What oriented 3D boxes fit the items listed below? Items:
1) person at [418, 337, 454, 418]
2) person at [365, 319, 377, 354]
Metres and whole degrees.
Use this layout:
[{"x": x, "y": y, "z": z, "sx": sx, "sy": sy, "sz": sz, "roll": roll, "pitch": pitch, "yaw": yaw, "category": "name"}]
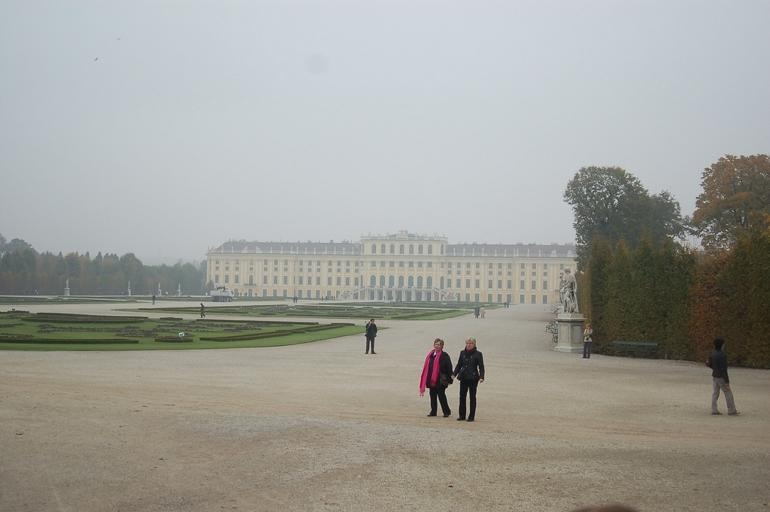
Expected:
[{"x": 1.350, "y": 3.231, "z": 25.170, "sx": 0.860, "sy": 2.024, "sz": 1.453, "roll": 2, "pitch": 7, "yaw": 3, "category": "person"}, {"x": -0.549, "y": 2.998, "z": 35.320, "sx": 0.399, "sy": 1.399, "sz": 1.200, "roll": 1, "pitch": 7, "yaw": -2, "category": "person"}]
